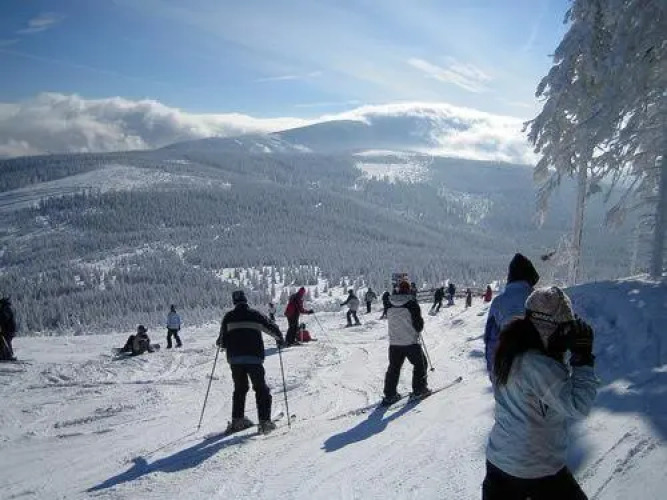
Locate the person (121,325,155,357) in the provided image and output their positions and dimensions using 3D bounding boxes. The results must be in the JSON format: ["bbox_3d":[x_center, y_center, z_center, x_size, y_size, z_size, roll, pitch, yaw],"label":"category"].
[{"bbox_3d":[-7.229,3.385,20.025,0.876,1.001,0.843,-9,6,-44],"label":"person"}]

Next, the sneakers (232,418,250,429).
[{"bbox_3d":[-2.111,4.007,12.374,0.433,0.198,0.176,0,0,-29],"label":"sneakers"}]

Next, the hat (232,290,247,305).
[{"bbox_3d":[-2.193,1.119,12.517,0.259,0.376,0.335,1,-7,0],"label":"hat"}]

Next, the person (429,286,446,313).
[{"bbox_3d":[5.782,2.836,29.904,0.703,1.385,3.552,-4,5,11],"label":"person"}]

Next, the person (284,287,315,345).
[{"bbox_3d":[-1.529,3.095,24.742,1.183,2.598,1.066,-12,43,-22],"label":"person"}]

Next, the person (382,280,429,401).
[{"bbox_3d":[1.662,2.231,13.055,1.088,3.027,0.810,-4,5,9],"label":"person"}]

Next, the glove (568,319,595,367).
[{"bbox_3d":[3.766,1.421,8.167,0.345,0.705,0.305,-3,5,21],"label":"glove"}]

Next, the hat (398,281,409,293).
[{"bbox_3d":[1.679,0.897,12.772,0.265,0.334,0.282,-4,5,1],"label":"hat"}]

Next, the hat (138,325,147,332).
[{"bbox_3d":[-7.138,2.969,20.051,0.228,0.251,0.306,1,-5,-15],"label":"hat"}]

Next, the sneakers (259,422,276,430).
[{"bbox_3d":[-1.514,4.036,12.247,0.405,0.197,0.154,-1,0,-15],"label":"sneakers"}]
